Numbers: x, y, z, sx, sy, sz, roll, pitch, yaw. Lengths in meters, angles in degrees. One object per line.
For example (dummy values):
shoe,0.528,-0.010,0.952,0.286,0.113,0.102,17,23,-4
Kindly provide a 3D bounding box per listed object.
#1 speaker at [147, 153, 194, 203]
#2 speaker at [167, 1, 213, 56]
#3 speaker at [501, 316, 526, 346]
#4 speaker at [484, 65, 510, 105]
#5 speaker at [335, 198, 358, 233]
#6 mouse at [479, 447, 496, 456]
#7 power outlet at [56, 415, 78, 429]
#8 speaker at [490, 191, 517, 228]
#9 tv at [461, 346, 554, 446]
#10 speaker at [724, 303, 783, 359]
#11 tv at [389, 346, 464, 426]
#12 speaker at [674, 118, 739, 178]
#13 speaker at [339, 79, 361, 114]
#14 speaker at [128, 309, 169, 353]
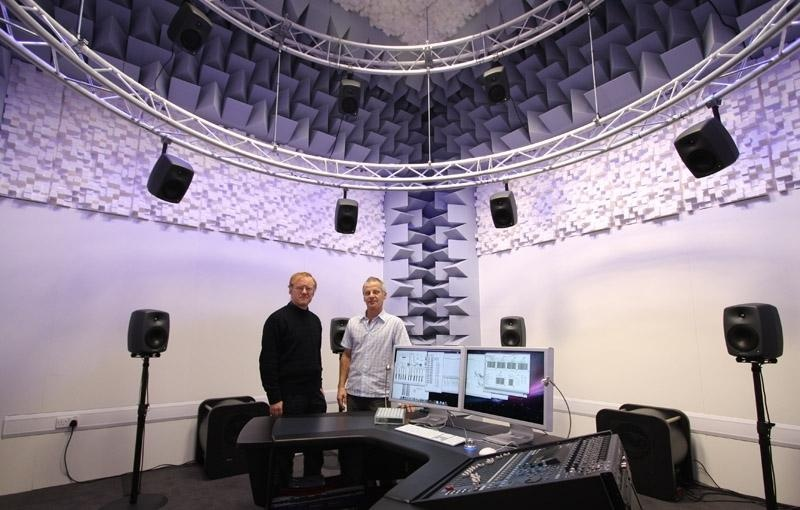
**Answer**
speaker,-2.501,-0.833,5.776,0.249,0.441,0.314,35,12,32
speaker,-2.179,-2.373,5.452,0.346,0.448,0.376,9,-14,-34
speaker,1.393,0.944,6.512,0.250,0.430,0.239,-8,-24,31
speaker,1.131,-2.028,6.181,0.259,0.401,0.258,-2,-12,16
speaker,-0.684,-0.506,6.771,0.289,0.448,0.269,1,15,-21
mouse,0.697,1.557,4.197,0.138,0.044,0.176,0,-11,5
power outlet,-3.636,1.819,5.766,0.216,0.145,0.123,6,-9,-41
speaker,1.274,-0.568,6.521,0.319,0.450,0.285,-9,15,10
tv,0.951,1.205,4.630,0.845,0.804,0.359,-4,-3,42
speaker,3.408,0.757,5.178,0.365,0.588,0.401,-7,-2,-30
tv,0.288,1.198,4.924,0.803,0.709,0.344,-6,-10,37
speaker,3.079,-1.092,5.337,0.459,0.490,0.455,-30,4,36
speaker,-0.607,-1.931,6.398,0.253,0.380,0.316,3,-11,-9
speaker,-2.628,0.806,5.686,0.313,0.450,0.350,3,0,-44
